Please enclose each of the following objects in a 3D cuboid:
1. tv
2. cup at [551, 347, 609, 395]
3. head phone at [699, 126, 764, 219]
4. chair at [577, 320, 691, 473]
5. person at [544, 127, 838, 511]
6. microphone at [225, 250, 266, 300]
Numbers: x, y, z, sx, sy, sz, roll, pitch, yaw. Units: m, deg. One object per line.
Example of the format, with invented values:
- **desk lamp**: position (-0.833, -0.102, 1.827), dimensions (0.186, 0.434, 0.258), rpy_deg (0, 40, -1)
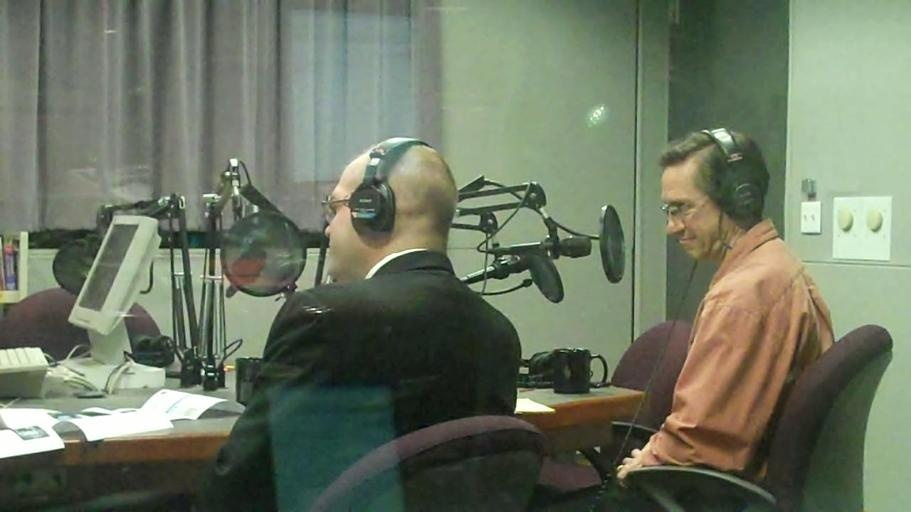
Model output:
- **tv**: position (-0.678, 0.088, 2.224), dimensions (0.214, 0.356, 0.129), rpy_deg (5, 9, 38)
- **cup**: position (0.243, 0.232, 2.186), dimensions (0.107, 0.083, 0.061), rpy_deg (0, -1, -13)
- **head phone**: position (0.551, -0.179, 2.221), dimensions (0.070, 0.182, 0.192), rpy_deg (-18, 9, 3)
- **chair**: position (0.402, 0.280, 2.266), dimensions (0.269, 0.304, 0.231), rpy_deg (-1, -1, -14)
- **person**: position (0.550, 0.103, 2.591), dimensions (0.707, 0.944, 0.614), rpy_deg (2, 0, 19)
- **microphone**: position (-0.404, 0.032, 2.082), dimensions (0.072, 0.089, 0.015), rpy_deg (12, 5, 6)
